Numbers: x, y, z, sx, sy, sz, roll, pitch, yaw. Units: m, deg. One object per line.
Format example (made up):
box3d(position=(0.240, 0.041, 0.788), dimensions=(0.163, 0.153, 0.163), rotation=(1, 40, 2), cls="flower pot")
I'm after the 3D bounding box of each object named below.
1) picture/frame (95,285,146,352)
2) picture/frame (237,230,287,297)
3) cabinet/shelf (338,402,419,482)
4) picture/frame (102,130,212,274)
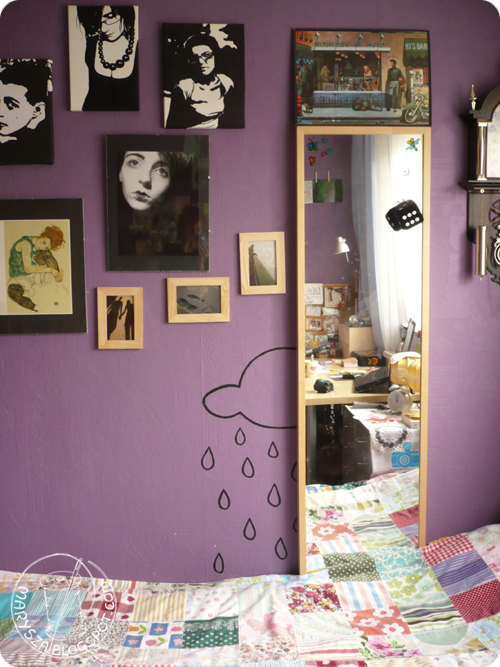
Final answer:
box3d(position=(-0.482, -0.068, 2.221), dimensions=(0.245, 0.325, 0.017), rotation=(0, 3, -2), cls="picture/frame")
box3d(position=(0.047, -0.272, 2.217), dimensions=(0.246, 0.302, 0.017), rotation=(-1, 5, -1), cls="picture/frame")
box3d(position=(0.502, 0.413, 2.450), dimensions=(0.312, 0.294, 0.298), rotation=(-1, 3, -3), cls="cabinet/shelf")
box3d(position=(-0.344, -0.508, 2.187), dimensions=(0.514, 0.620, 0.031), rotation=(1, 9, 4), cls="picture/frame")
